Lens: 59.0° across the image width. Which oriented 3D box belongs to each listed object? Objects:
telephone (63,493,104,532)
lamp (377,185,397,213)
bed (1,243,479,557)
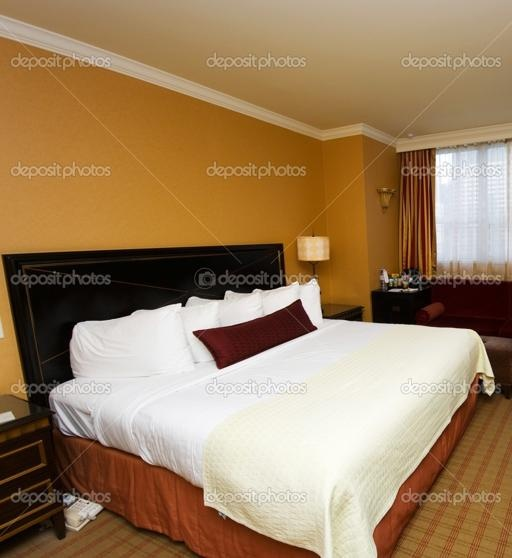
[{"bbox_3d":[-0.921,1.202,2.342,0.141,0.032,0.140,5,3,23],"label":"telephone"},{"bbox_3d":[1.560,-0.952,5.362,0.143,0.274,0.516,1,10,26],"label":"lamp"},{"bbox_3d":[-0.175,0.615,2.324,1.180,0.863,1.607,1,7,27],"label":"bed"}]
